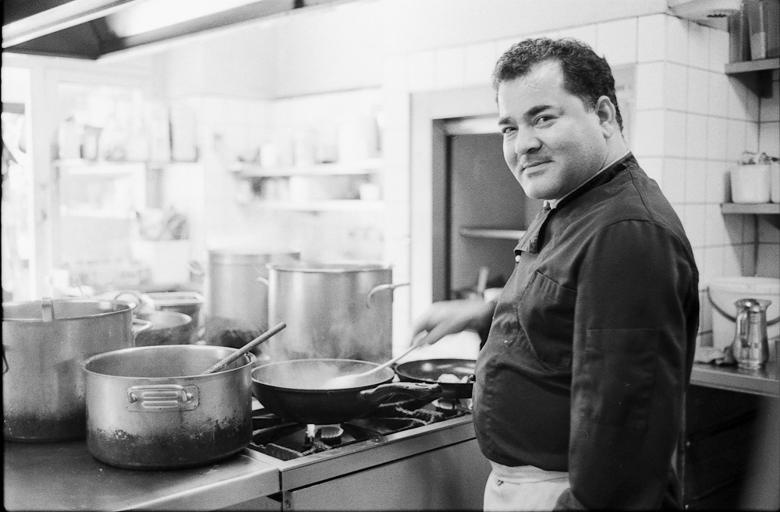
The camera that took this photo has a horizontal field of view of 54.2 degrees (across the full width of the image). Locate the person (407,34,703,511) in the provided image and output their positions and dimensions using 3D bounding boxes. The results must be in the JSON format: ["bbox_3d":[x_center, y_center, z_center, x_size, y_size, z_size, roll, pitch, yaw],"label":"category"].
[{"bbox_3d":[0.508,0.073,2.077,0.581,1.218,0.314,-1,0,7],"label":"person"}]

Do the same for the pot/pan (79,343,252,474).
[{"bbox_3d":[-0.661,0.450,2.328,0.504,0.259,0.533,-2,5,-16],"label":"pot/pan"}]

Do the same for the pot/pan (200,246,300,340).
[{"bbox_3d":[-0.545,0.137,3.018,0.363,0.363,0.369,2,1,39],"label":"pot/pan"}]

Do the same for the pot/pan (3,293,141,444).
[{"bbox_3d":[-1.022,0.351,2.542,0.513,0.391,0.391,3,-2,-42],"label":"pot/pan"}]

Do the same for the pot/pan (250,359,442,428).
[{"bbox_3d":[-0.201,0.383,2.377,0.424,0.099,0.269,2,-2,23],"label":"pot/pan"}]

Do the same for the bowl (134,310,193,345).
[{"bbox_3d":[-0.836,0.272,2.862,0.161,0.097,0.150,1,1,0],"label":"bowl"}]

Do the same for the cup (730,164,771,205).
[{"bbox_3d":[1.356,-0.272,2.860,0.152,0.146,0.144,0,1,0],"label":"cup"}]

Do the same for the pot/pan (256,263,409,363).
[{"bbox_3d":[-0.209,0.202,2.783,0.554,0.353,0.347,-3,-7,38],"label":"pot/pan"}]
